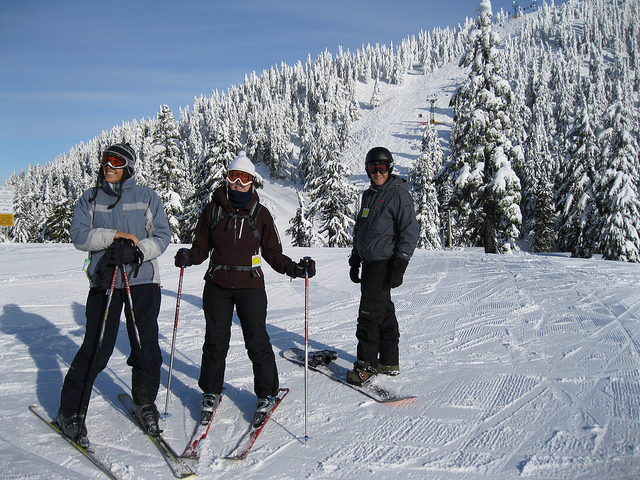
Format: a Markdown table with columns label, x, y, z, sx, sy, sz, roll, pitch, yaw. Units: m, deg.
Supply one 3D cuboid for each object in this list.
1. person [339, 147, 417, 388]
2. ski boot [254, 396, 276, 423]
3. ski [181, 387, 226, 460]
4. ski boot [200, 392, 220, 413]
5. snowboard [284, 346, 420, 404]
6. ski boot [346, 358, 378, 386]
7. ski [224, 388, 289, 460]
| label | x | y | z | sx | sy | sz | roll | pitch | yaw |
| --- | --- | --- | --- | --- | --- | --- | --- | --- | --- |
| person | 0.907 | 0.364 | 8.728 | 1.069 | 3.507 | 0.884 | -1 | 7 | 4 |
| ski boot | -0.754 | 2.262 | 7.809 | 0.125 | 0.228 | 0.457 | -11 | 22 | 20 |
| ski | -1.558 | 2.548 | 7.431 | 0.139 | 1.530 | 0.072 | 23 | 29 | -7 |
| ski boot | -1.506 | 2.198 | 7.761 | 0.175 | 0.207 | 0.241 | 7 | -7 | -6 |
| snowboard | 0.488 | 2.077 | 8.704 | 0.436 | 0.136 | 2.234 | -12 | 18 | -39 |
| ski boot | 0.630 | 1.967 | 8.591 | 0.439 | 0.377 | 0.150 | -1 | 7 | -1 |
| ski | -0.856 | 2.496 | 7.702 | 0.254 | 0.113 | 1.918 | 2 | 21 | 14 |
